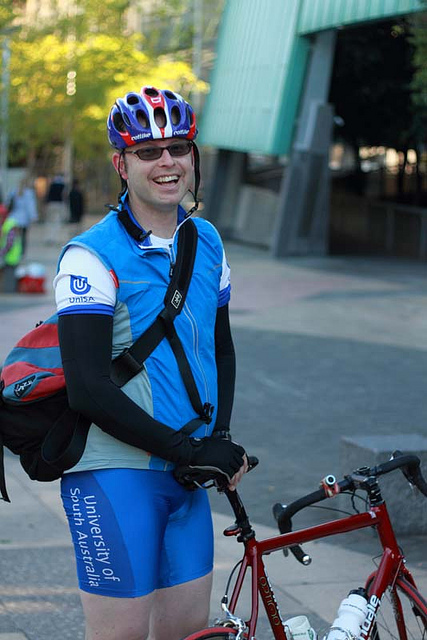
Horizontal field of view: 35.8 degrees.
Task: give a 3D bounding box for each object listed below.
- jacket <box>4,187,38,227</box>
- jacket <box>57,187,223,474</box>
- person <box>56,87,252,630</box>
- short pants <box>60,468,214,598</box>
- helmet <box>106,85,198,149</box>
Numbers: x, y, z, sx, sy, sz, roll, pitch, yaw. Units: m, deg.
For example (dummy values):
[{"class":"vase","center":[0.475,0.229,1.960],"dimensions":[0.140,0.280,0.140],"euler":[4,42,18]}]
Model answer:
[{"class":"jacket","center":[-5.389,-3.273,18.741],"dimensions":[0.678,1.247,2.431],"euler":[-4,5,-16]},{"class":"jacket","center":[-0.138,0.008,1.609],"dimensions":[0.330,0.661,0.457],"euler":[0,6,18]},{"class":"person","center":[-0.142,0.096,1.584],"dimensions":[0.467,1.335,0.460],"euler":[-3,6,-12]},{"class":"short pants","center":[-0.175,0.497,1.618],"dimensions":[0.242,0.284,0.414],"euler":[-15,-15,32]},{"class":"helmet","center":[-0.143,-0.501,1.600],"dimensions":[0.217,0.177,0.193],"euler":[-3,5,-12]}]
